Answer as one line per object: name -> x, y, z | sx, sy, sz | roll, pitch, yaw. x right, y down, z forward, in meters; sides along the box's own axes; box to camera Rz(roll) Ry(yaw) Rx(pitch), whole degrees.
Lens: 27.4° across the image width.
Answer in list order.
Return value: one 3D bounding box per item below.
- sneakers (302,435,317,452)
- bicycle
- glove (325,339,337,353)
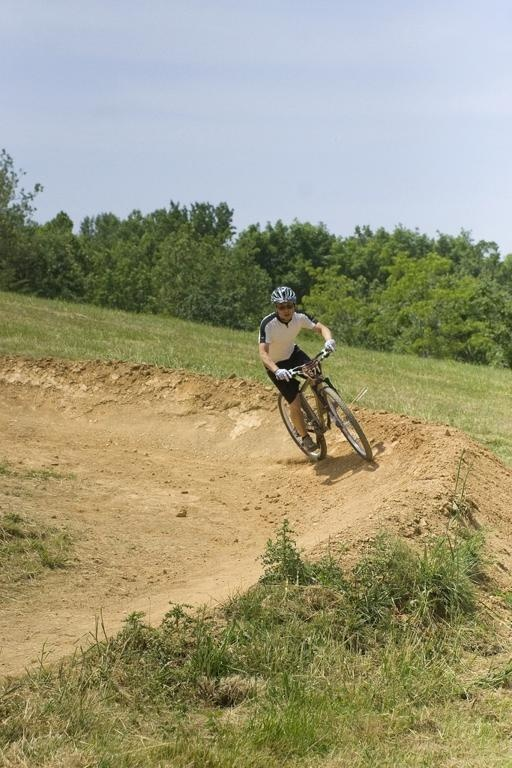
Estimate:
sneakers -> 0.594, 0.646, 11.620 | 0.086, 0.115, 0.246 | -9, -9, -4
bicycle -> 0.750, 0.226, 11.482 | 0.684, 0.943, 1.525 | -26, 10, -16
glove -> 0.747, -0.388, 10.531 | 0.088, 0.115, 0.118 | -3, -10, -2
